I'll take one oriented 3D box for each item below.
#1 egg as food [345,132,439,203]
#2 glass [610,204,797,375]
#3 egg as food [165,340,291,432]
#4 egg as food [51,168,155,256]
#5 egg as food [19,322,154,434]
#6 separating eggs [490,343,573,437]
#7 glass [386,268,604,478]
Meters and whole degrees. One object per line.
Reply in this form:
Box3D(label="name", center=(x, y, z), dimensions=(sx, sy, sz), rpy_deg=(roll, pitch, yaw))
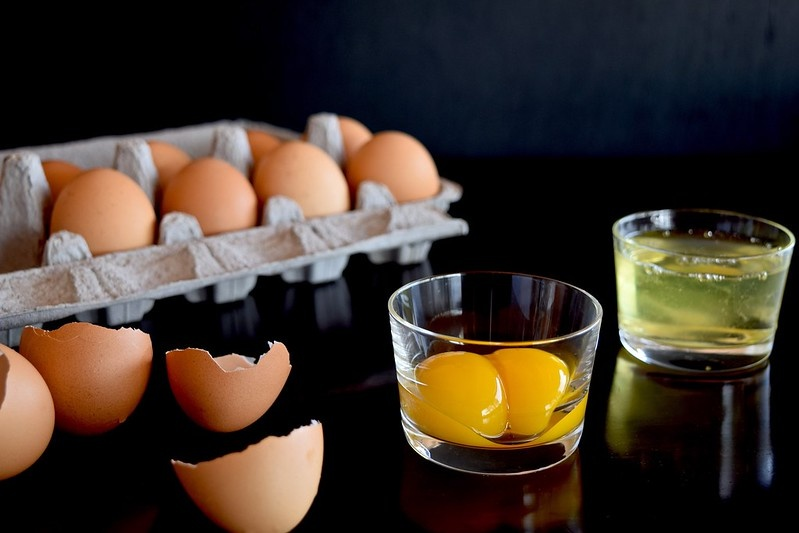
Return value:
Box3D(label="egg as food", center=(-0.025, -0.167, 1.383), dimensions=(0.153, 0.189, 0.151), rpy_deg=(-2, 2, -43))
Box3D(label="glass", center=(0.459, 0.039, 1.106), dimensions=(0.247, 0.200, 0.264), rpy_deg=(-2, 15, 0))
Box3D(label="egg as food", center=(-0.231, 0.150, 0.910), dimensions=(0.131, 0.100, 0.134), rpy_deg=(5, 8, 11))
Box3D(label="egg as food", center=(-0.513, -0.070, 1.199), dimensions=(0.167, 0.203, 0.162), rpy_deg=(-4, -2, -28))
Box3D(label="egg as food", center=(-0.400, 0.134, 0.911), dimensions=(0.138, 0.130, 0.153), rpy_deg=(2, -2, -6))
Box3D(label="separating eggs", center=(0.158, 0.145, 0.835), dimensions=(0.092, 0.076, 0.103), rpy_deg=(4, -9, -12))
Box3D(label="glass", center=(0.144, 0.133, 0.952), dimensions=(0.291, 0.204, 0.283), rpy_deg=(-15, 15, -32))
